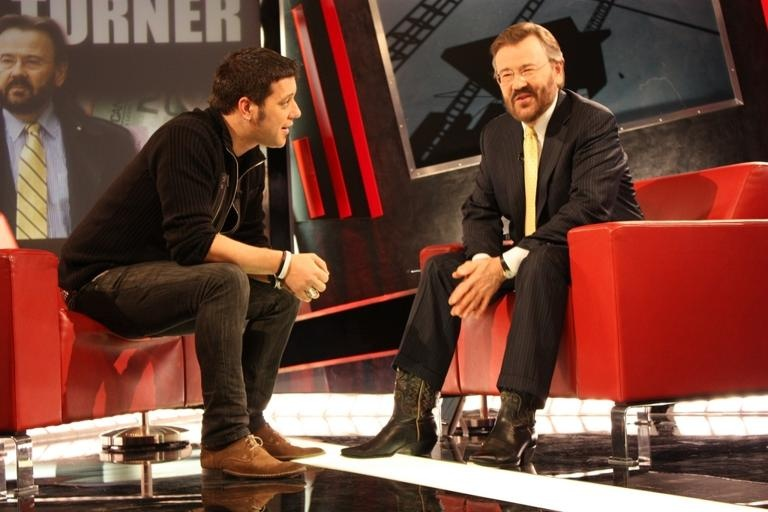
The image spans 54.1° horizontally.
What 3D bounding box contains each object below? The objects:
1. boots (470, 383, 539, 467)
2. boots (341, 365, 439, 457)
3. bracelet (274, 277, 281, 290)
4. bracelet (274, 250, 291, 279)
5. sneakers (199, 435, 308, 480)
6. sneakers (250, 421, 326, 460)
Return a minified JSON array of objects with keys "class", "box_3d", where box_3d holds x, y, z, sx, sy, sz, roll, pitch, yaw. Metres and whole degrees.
[{"class":"boots","box_3d":[0.448,0.623,2.747,0.129,0.251,0.352,-1,-3,44]},{"class":"boots","box_3d":[0.031,0.600,2.896,0.366,0.319,0.162,2,-2,-12]},{"class":"bracelet","box_3d":[-0.414,0.106,2.866,0.022,0.044,0.065,-6,0,-25]},{"class":"bracelet","box_3d":[-0.371,0.026,2.793,0.032,0.088,0.080,21,20,-15]},{"class":"sneakers","box_3d":[-0.480,0.725,2.732,0.428,0.157,0.139,1,-6,7]},{"class":"sneakers","box_3d":[-0.339,0.715,2.908,0.341,0.124,0.111,2,-1,-15]}]
